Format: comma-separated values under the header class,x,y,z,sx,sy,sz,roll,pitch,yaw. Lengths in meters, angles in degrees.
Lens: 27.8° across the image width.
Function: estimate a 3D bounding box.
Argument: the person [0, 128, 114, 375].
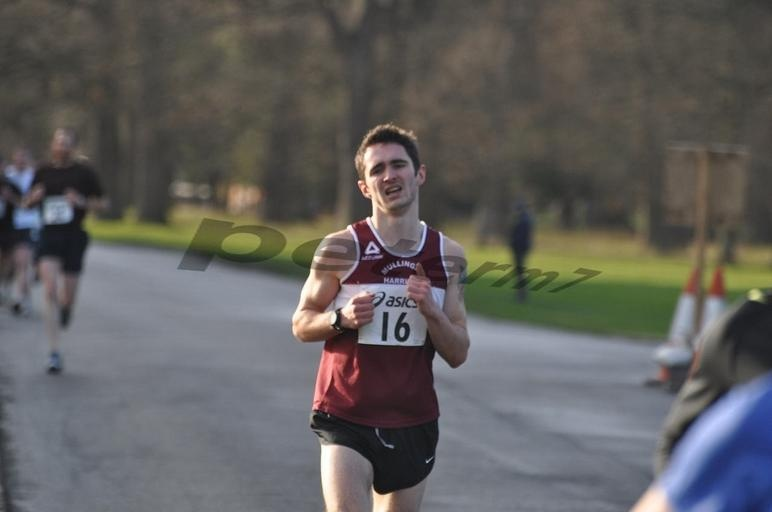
class,x,y,z,sx,sy,sz,roll,pitch,yaw
person,-2.141,-0.097,10.397,0.540,1.557,0.858,-2,13,-14
